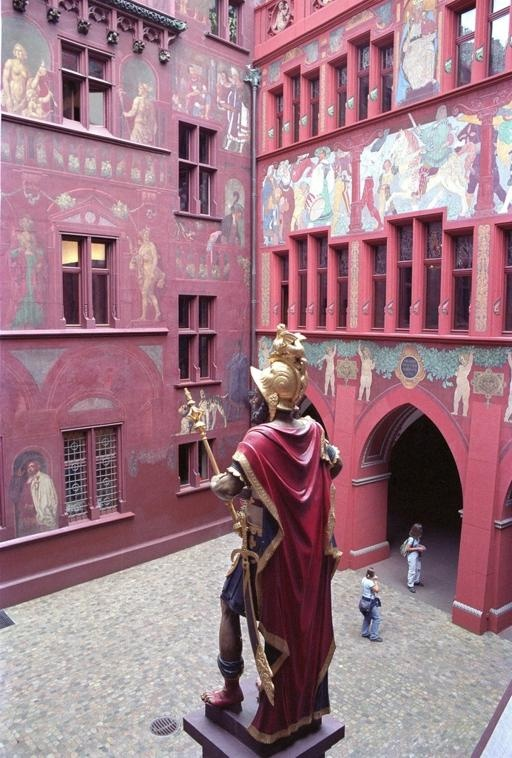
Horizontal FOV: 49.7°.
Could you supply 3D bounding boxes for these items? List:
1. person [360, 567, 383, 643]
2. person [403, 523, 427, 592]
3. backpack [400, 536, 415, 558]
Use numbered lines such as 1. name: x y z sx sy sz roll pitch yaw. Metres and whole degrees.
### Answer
1. person: 1.570 3.070 7.603 0.293 1.112 0.618 1 2 13
2. person: 2.649 2.962 9.233 0.331 1.112 0.302 2 9 27
3. backpack: 2.477 2.747 9.112 0.149 0.403 0.398 0 2 -1
